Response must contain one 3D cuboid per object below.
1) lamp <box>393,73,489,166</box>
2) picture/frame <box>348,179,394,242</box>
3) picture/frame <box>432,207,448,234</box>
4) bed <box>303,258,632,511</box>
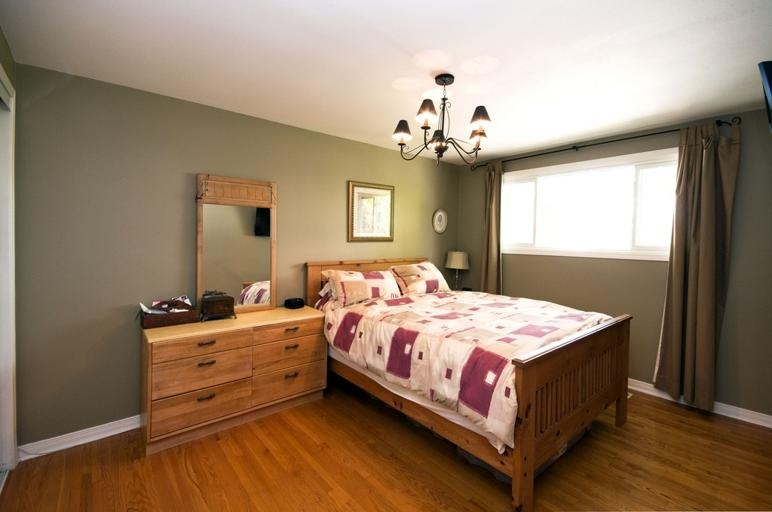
[{"bbox_3d":[0.556,-1.335,4.920,0.973,0.786,0.883,3,-8,-13],"label":"lamp"},{"bbox_3d":[-0.217,-0.587,6.481,0.824,0.840,0.057,0,1,-39],"label":"picture/frame"},{"bbox_3d":[0.786,-0.499,7.335,0.061,0.356,0.312,3,5,38],"label":"picture/frame"},{"bbox_3d":[0.850,1.181,5.205,1.690,1.177,2.165,-1,1,-37],"label":"bed"}]
